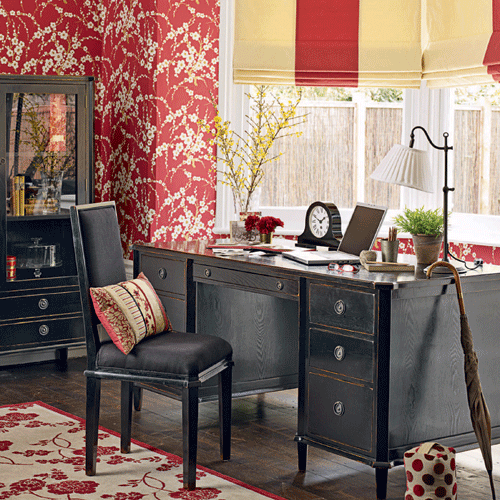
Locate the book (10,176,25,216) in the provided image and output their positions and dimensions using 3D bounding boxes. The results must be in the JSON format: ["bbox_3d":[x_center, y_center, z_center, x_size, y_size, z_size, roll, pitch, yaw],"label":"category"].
[{"bbox_3d":[-1.489,-0.357,3.315,0.088,0.230,0.048,2,-1,-35],"label":"book"}]

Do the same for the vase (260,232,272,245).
[{"bbox_3d":[0.086,-0.067,2.613,0.047,0.040,0.045,-1,6,-15],"label":"vase"}]

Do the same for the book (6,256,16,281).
[{"bbox_3d":[-1.538,0.106,3.333,0.051,0.134,0.113,2,-1,-17],"label":"book"}]

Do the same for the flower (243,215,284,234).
[{"bbox_3d":[0.069,-0.135,2.575,0.194,0.095,0.077,2,-1,8],"label":"flower"}]

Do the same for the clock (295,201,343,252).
[{"bbox_3d":[0.356,-0.127,2.534,0.062,0.244,0.273,-6,9,-42],"label":"clock"}]

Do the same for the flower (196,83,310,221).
[{"bbox_3d":[0.005,-0.713,3.329,0.708,0.952,0.822,1,-1,6],"label":"flower"}]

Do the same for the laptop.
[{"bbox_3d":[0.370,-0.056,2.155,0.289,0.209,0.305,1,4,-20],"label":"laptop"}]

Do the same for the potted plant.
[{"bbox_3d":[0.712,-0.053,2.095,0.140,0.224,0.187,1,0,33],"label":"potted plant"}]

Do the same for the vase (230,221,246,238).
[{"bbox_3d":[-0.065,-0.116,2.663,0.069,0.104,0.095,1,0,-25],"label":"vase"}]
